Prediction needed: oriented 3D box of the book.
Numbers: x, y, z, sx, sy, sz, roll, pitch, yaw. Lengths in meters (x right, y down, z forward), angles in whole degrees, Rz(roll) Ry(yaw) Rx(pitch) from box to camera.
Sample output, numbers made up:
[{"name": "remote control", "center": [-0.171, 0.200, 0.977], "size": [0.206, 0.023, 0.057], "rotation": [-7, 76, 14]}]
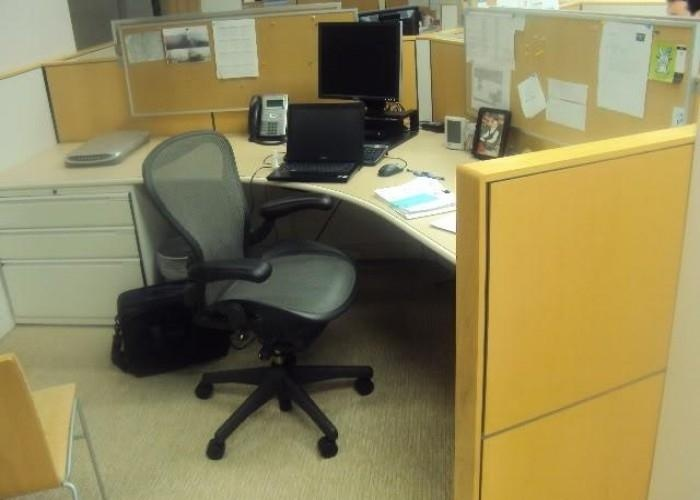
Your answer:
[{"name": "book", "center": [0.273, -0.211, 2.327], "size": [0.249, 0.038, 0.237], "rotation": [-16, 37, -22]}]

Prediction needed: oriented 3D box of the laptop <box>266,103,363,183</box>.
[{"name": "laptop", "center": [-0.136, -0.507, 2.675], "size": [0.444, 0.335, 0.395], "rotation": [4, 22, 14]}]

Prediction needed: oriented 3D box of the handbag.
[{"name": "handbag", "center": [-0.813, 0.288, 2.812], "size": [0.617, 0.453, 0.378], "rotation": [-8, 23, -22]}]

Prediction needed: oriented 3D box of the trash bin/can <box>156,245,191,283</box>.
[{"name": "trash bin/can", "center": [-0.838, 0.060, 2.806], "size": [0.140, 0.124, 0.141], "rotation": [16, 19, 41]}]

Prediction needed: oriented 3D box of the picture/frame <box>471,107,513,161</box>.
[{"name": "picture/frame", "center": [0.648, -0.524, 2.635], "size": [0.124, 0.217, 0.188], "rotation": [-14, 26, -28]}]

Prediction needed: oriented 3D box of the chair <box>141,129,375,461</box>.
[{"name": "chair", "center": [-0.335, 0.152, 2.334], "size": [0.864, 1.160, 0.636], "rotation": [-1, 22, 2]}]

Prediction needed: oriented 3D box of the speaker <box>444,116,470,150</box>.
[{"name": "speaker", "center": [0.516, -0.556, 2.795], "size": [0.121, 0.171, 0.091], "rotation": [16, 34, 37]}]

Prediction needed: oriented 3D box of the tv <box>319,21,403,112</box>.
[{"name": "tv", "center": [0.057, -0.919, 2.882], "size": [0.454, 0.469, 0.194], "rotation": [4, 13, 20]}]

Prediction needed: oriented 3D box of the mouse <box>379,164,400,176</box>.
[{"name": "mouse", "center": [0.172, -0.358, 2.582], "size": [0.079, 0.027, 0.051], "rotation": [-17, 32, -25]}]
